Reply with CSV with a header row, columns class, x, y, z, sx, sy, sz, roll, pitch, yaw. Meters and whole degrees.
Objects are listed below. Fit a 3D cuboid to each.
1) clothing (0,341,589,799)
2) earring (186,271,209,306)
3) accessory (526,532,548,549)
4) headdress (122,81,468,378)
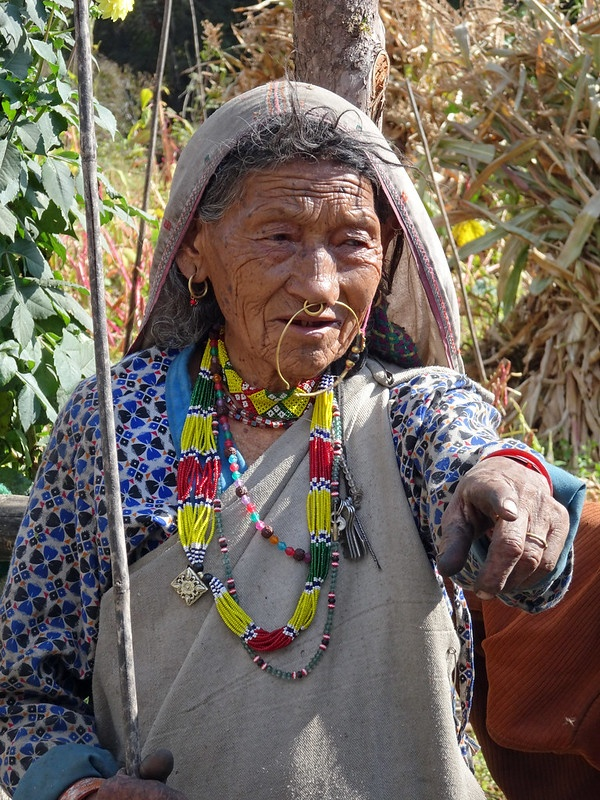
class,x,y,z,sx,sy,sz,roll,pitch,yaw
clothing,-0.049,0.254,1.970,1.075,0.809,0.821,3,77,-5
earring,-0.170,-0.218,1.975,0.041,0.016,0.047,7,82,-37
accessory,0.310,0.188,1.353,0.029,0.018,0.019,18,43,7
headdress,0.006,-0.348,2.069,0.697,0.578,0.403,4,33,-4
